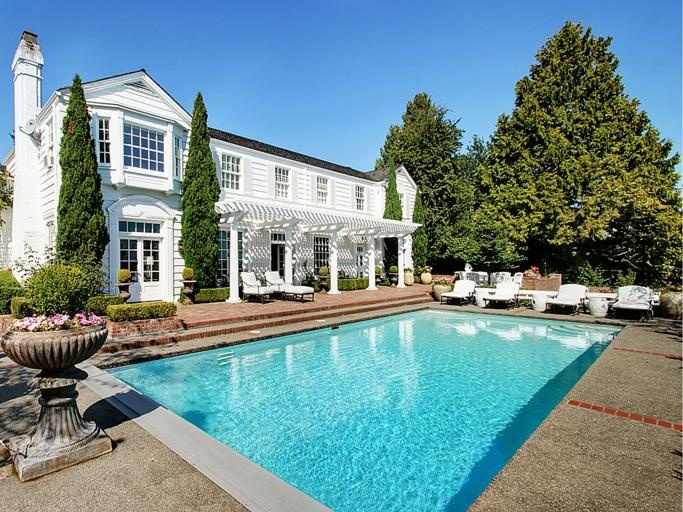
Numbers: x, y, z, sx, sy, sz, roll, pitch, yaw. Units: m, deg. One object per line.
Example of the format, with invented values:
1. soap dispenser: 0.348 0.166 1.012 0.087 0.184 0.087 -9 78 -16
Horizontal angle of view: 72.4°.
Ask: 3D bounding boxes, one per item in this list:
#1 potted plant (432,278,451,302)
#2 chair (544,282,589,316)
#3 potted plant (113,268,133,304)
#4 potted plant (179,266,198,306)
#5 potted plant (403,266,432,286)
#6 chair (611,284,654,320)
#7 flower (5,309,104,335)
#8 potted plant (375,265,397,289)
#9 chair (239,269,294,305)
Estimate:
1. potted plant: 4.986 1.661 22.457 0.963 1.146 0.997 1 -3 -7
2. chair: 8.700 1.619 18.051 1.024 1.219 1.428 -2 -4 41
3. potted plant: -7.360 0.995 15.748 0.371 1.125 0.954 0 -3 -26
4. potted plant: -5.965 1.169 18.212 0.631 1.412 0.694 0 -3 -19
5. potted plant: 4.713 1.248 28.663 1.544 1.155 2.453 -3 -3 29
6. chair: 10.277 1.656 16.403 1.159 1.135 1.459 -3 -3 35
7. flower: -5.134 1.200 8.395 1.528 0.303 0.662 0 -3 -24
8. potted plant: 2.799 1.235 28.297 1.287 1.235 2.093 -1 -3 7
9. chair: -3.342 1.306 19.522 1.772 1.253 1.426 2 -4 -41
